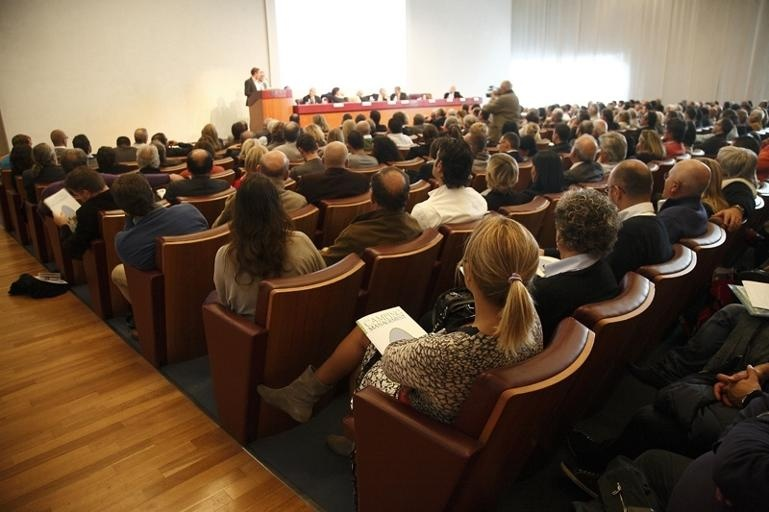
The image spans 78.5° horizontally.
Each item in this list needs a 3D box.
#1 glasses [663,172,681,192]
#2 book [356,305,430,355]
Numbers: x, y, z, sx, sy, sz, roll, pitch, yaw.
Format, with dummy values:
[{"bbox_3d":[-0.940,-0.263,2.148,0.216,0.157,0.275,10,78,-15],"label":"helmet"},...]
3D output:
[{"bbox_3d":[2.025,-0.509,3.316,0.088,0.118,0.111,1,11,-4],"label":"glasses"},{"bbox_3d":[0.042,0.344,2.445,0.329,0.065,0.320,-17,4,-27],"label":"book"}]
